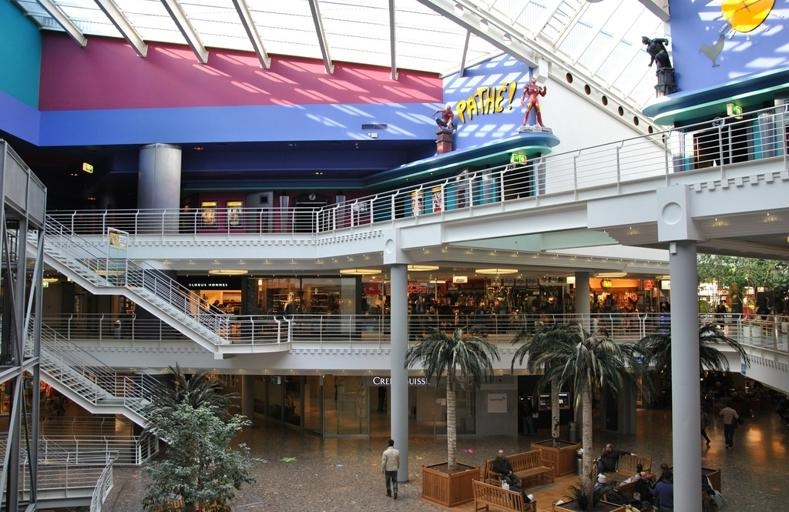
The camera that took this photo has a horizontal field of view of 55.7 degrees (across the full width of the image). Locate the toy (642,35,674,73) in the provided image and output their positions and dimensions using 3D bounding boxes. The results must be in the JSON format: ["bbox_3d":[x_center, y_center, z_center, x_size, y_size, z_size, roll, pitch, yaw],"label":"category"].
[{"bbox_3d":[10.969,-8.516,31.232,1.218,1.421,0.711,6,-11,-44],"label":"toy"}]

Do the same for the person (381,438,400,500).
[{"bbox_3d":[-0.131,9.018,31.781,0.740,2.390,1.240,-2,-8,-1],"label":"person"}]

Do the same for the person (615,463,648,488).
[{"bbox_3d":[9.761,9.038,30.608,1.016,0.579,0.340,1,-6,-24],"label":"person"}]

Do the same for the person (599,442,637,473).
[{"bbox_3d":[9.846,8.906,32.869,0.747,0.801,1.194,29,-36,-28],"label":"person"}]
